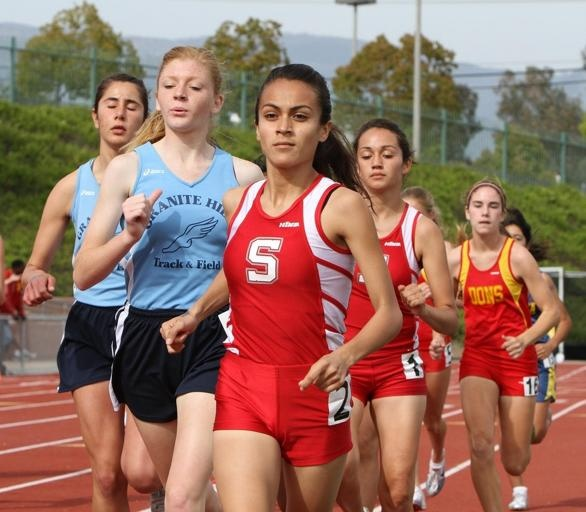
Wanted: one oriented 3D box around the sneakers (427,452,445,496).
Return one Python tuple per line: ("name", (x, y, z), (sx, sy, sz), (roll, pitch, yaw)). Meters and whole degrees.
("sneakers", (1.182, 1.834, 6.693), (0.126, 0.387, 0.147), (7, -1, 32))
